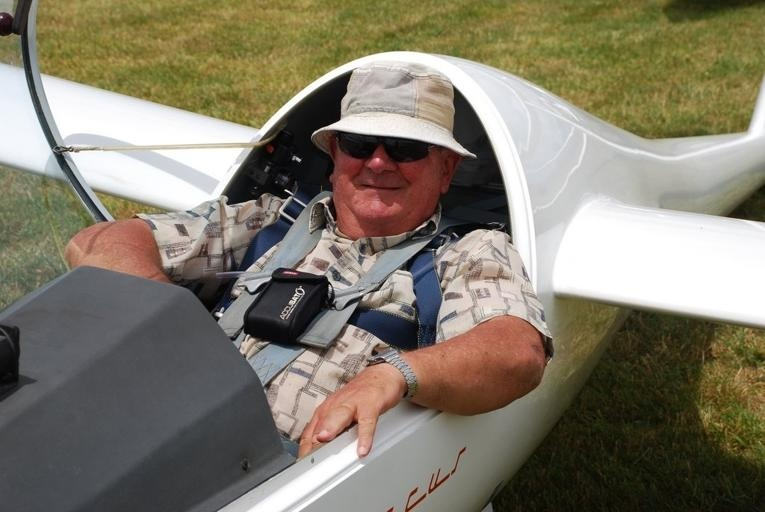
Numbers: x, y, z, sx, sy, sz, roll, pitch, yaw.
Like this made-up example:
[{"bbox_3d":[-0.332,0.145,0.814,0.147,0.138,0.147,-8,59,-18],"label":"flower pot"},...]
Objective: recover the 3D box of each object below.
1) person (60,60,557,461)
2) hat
[{"bbox_3d":[0.090,0.038,2.755,1.248,0.653,1.631,19,29,17],"label":"person"},{"bbox_3d":[0.076,-0.499,2.972,0.445,0.257,0.445,3,6,-25],"label":"hat"}]
